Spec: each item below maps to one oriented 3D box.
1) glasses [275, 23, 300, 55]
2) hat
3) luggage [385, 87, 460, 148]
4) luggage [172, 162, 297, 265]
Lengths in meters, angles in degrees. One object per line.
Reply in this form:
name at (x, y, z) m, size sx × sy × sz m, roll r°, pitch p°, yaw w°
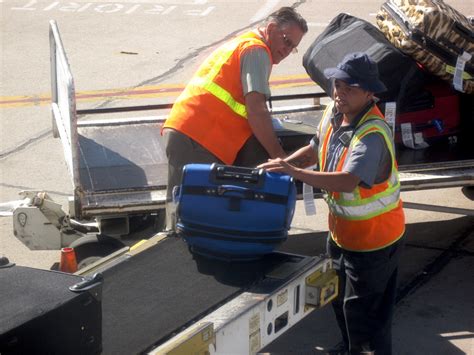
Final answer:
glasses at (0.365, -1.001, 3.579) m, size 0.049 × 0.158 × 0.155 m, roll -27°, pitch -25°, yaw 24°
hat at (0.733, -0.626, 3.084) m, size 0.296 × 0.148 × 0.286 m, roll 18°, pitch 24°, yaw 17°
luggage at (1.957, -0.746, 5.476) m, size 0.980 × 0.641 × 0.645 m, roll -4°, pitch 15°, yaw -5°
luggage at (0.035, 0.212, 3.135) m, size 0.738 × 0.649 × 0.535 m, roll 5°, pitch -13°, yaw 8°
